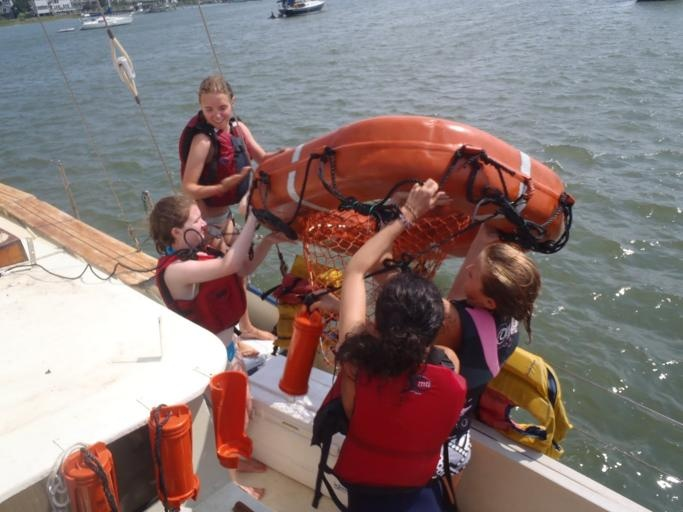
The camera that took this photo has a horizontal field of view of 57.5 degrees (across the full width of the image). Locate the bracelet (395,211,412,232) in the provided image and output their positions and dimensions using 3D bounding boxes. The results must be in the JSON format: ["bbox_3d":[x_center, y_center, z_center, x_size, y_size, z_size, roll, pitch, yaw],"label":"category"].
[{"bbox_3d":[0.342,-0.184,3.410,0.033,0.068,0.090,-43,79,31],"label":"bracelet"}]

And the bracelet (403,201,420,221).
[{"bbox_3d":[0.388,-0.242,3.465,0.096,0.095,0.072,39,86,16],"label":"bracelet"}]

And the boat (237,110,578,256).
[{"bbox_3d":[0.574,-0.354,3.741,1.169,1.258,0.333,-12,59,55],"label":"boat"}]
